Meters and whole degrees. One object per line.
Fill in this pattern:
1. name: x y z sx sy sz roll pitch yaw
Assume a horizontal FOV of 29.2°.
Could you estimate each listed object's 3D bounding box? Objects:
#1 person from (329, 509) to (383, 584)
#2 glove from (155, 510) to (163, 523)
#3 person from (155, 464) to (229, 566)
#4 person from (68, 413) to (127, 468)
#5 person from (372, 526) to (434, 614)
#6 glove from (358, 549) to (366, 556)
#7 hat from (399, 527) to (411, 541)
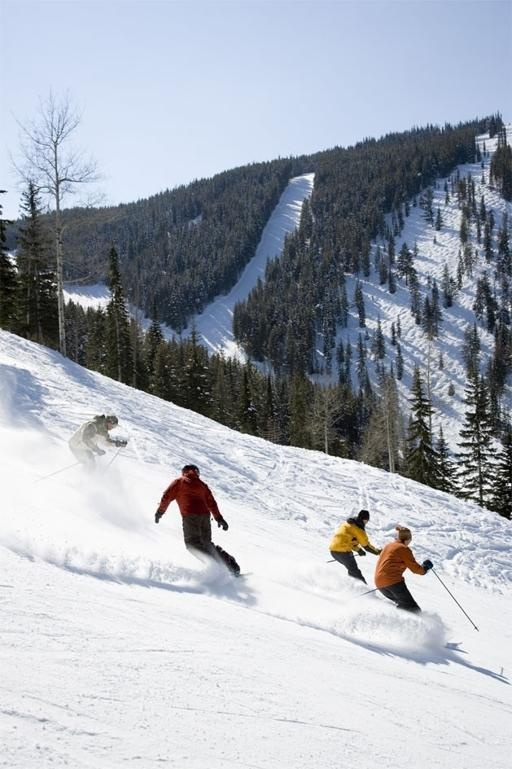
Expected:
1. person: 1.456 2.516 14.457 0.636 1.344 0.565 4 8 20
2. glove: -1.310 1.792 13.264 0.078 0.277 0.170 4 -1 -7
3. person: -0.813 1.872 13.343 0.886 0.522 1.968 14 36 -23
4. person: -2.625 0.908 16.180 0.697 0.812 0.667 12 3 -45
5. person: 2.037 2.708 13.495 0.686 1.562 0.721 -2 5 18
6. glove: 1.544 2.472 14.297 0.074 0.050 0.101 -15 9 -31
7. hat: 2.040 2.051 13.415 0.124 0.203 0.179 -6 0 16
